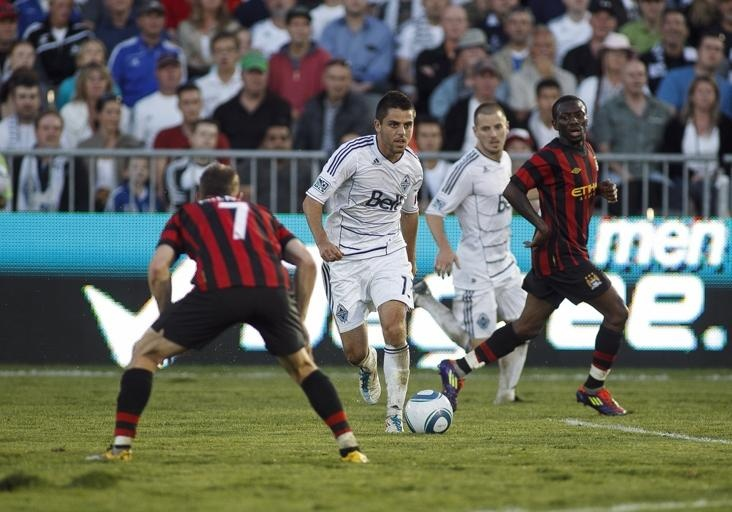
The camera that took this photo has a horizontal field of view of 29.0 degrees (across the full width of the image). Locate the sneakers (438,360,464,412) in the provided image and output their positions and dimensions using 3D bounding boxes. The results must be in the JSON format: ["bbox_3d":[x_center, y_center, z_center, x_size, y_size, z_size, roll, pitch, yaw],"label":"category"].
[{"bbox_3d":[0.890,1.311,14.915,0.186,0.612,0.299,-7,10,2],"label":"sneakers"}]

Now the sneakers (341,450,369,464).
[{"bbox_3d":[-0.096,1.864,13.054,0.187,0.095,0.131,-4,-4,17],"label":"sneakers"}]

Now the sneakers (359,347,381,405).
[{"bbox_3d":[0.055,1.275,14.757,0.187,0.646,0.256,-1,12,19],"label":"sneakers"}]

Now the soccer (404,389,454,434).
[{"bbox_3d":[0.635,1.641,14.385,0.464,0.546,0.511,-3,16,-2],"label":"soccer"}]

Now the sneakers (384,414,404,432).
[{"bbox_3d":[0.292,1.694,14.280,0.190,0.193,0.303,1,8,0],"label":"sneakers"}]
